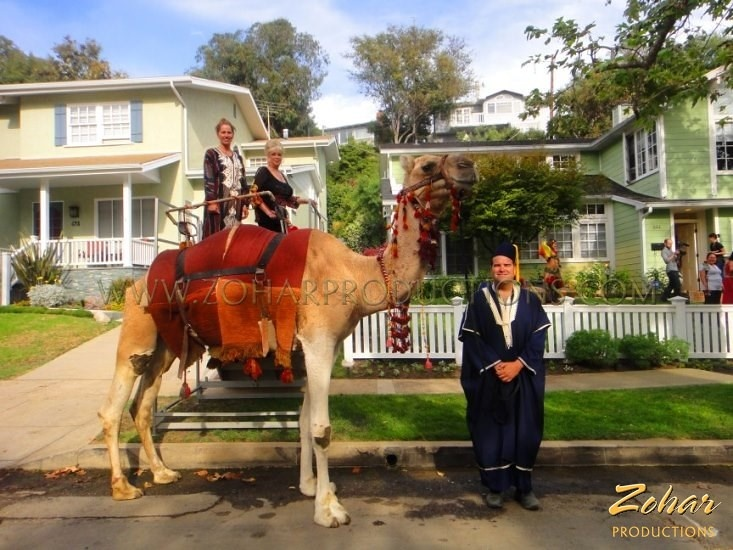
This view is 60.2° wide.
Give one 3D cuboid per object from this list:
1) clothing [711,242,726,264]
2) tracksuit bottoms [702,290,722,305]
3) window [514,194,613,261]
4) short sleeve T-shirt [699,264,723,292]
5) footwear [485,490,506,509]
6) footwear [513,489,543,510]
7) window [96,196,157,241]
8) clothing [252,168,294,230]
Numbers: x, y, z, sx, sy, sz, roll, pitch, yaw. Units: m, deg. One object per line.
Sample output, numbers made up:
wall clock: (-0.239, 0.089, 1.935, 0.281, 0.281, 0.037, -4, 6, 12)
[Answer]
clothing: (10.499, -0.664, 18.833, 0.380, 0.721, 0.728, 0, 0, 30)
tracksuit bottoms: (10.192, 0.616, 18.653, 0.395, 0.424, 0.380, -1, -3, 13)
window: (7.201, -1.785, 22.765, 2.649, 1.961, 0.172, -1, 1, 5)
short sleeve T-shirt: (10.174, 0.045, 18.588, 0.556, 0.778, 0.303, 0, 0, 29)
footwear: (1.647, 2.870, 8.082, 0.228, 0.178, 0.144, 0, 0, 9)
footwear: (2.056, 2.881, 8.119, 0.155, 0.134, 0.314, 3, -8, -20)
window: (-8.253, -1.960, 21.512, 2.163, 1.534, 0.162, 0, -3, -5)
clothing: (-1.398, -1.176, 9.409, 0.470, 0.955, 0.759, 6, 6, 34)
